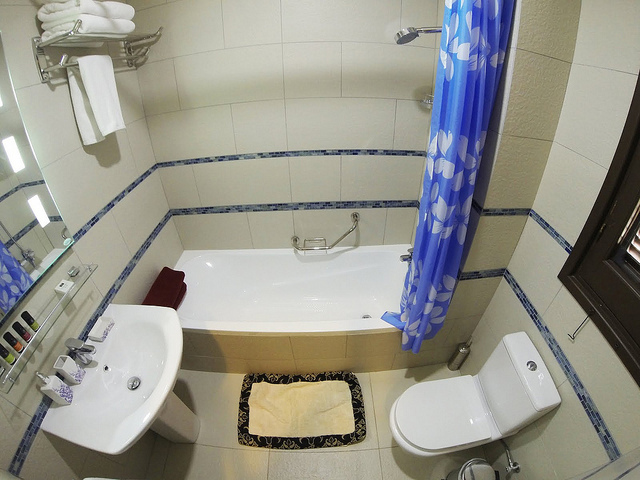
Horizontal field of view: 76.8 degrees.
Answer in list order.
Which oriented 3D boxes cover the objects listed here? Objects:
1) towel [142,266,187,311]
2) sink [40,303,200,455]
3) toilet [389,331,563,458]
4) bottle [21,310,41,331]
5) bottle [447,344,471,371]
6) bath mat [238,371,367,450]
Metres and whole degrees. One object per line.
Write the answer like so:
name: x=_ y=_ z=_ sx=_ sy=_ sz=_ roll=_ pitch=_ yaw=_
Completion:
towel: x=-1.156 y=0.361 z=3.005 sx=0.200 sy=0.094 sz=0.295 roll=5 pitch=33 yaw=-7
sink: x=-1.003 y=0.865 z=2.494 sx=0.671 sy=0.967 sz=0.868 roll=7 pitch=46 yaw=4
toilet: x=0.871 y=1.116 z=2.591 sx=0.820 sy=1.015 sz=0.494 roll=-4 pitch=45 yaw=-9
bottle: x=-1.471 y=0.406 z=2.032 sx=0.047 sy=0.114 sz=0.054 roll=23 pitch=38 yaw=32
bottle: x=1.065 y=0.887 z=3.046 sx=0.065 sy=0.250 sz=0.061 roll=0 pitch=46 yaw=0
bath mat: x=-0.127 y=1.225 z=2.915 sx=0.919 sy=0.205 sz=0.473 roll=0 pitch=33 yaw=-2
